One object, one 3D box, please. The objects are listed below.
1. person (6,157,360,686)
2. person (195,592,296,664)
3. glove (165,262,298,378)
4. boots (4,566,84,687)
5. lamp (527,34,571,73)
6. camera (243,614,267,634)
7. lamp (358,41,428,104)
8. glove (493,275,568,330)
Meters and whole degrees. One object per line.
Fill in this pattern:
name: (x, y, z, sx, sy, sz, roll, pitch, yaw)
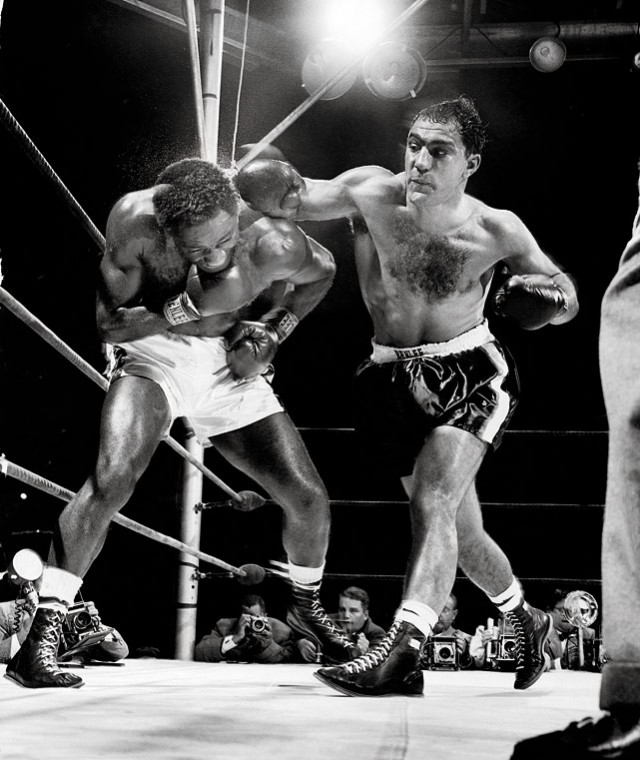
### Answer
person: (-0.278, 0.145, 2.235, 0.341, 1.291, 0.900, -4, -21, 40)
person: (-0.437, 1.578, 5.066, 0.627, 0.297, 0.787, 6, -8, -11)
glove: (-0.222, -0.142, 2.252, 0.319, 0.296, 0.135, 25, -50, -12)
boots: (-0.569, 0.542, 1.817, 0.164, 0.248, 0.147, 18, -18, -26)
lamp: (1.653, -2.390, 5.971, 0.252, 0.309, 0.202, 8, -16, 5)
camera: (-0.353, 1.385, 4.715, 0.088, 0.050, 0.118, -5, 18, -34)
lamp: (0.527, -2.172, 5.849, 0.429, 0.229, 0.446, 10, -15, -7)
glove: (0.498, -0.183, 1.988, 0.171, 0.095, 0.219, -3, -4, 20)
